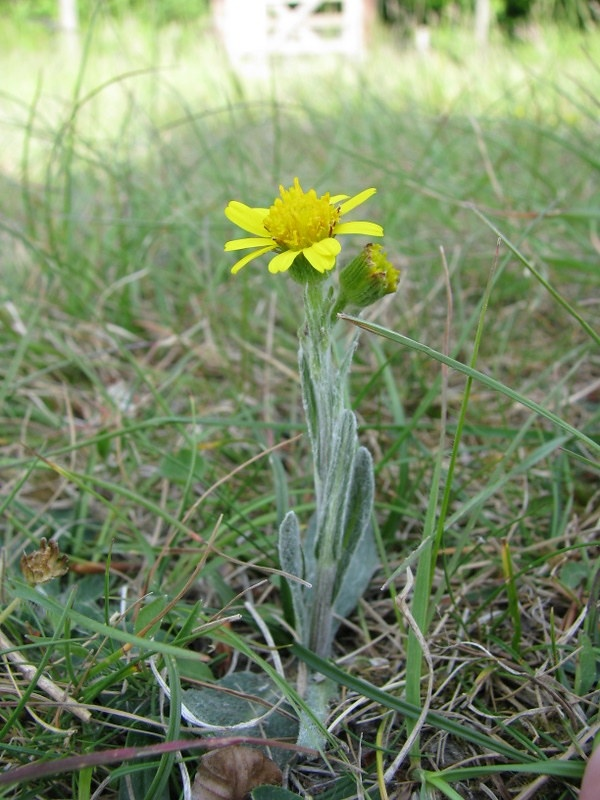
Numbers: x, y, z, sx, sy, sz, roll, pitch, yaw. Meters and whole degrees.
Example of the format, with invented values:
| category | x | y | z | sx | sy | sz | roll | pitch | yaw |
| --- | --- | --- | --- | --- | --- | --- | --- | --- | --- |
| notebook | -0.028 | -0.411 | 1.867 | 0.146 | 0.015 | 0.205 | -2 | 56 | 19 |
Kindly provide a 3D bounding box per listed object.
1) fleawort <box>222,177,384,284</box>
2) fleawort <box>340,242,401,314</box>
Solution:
| category | x | y | z | sx | sy | sz | roll | pitch | yaw |
| --- | --- | --- | --- | --- | --- | --- | --- | --- | --- |
| fleawort | 0.004 | -0.271 | 1.109 | 0.258 | 0.083 | 0.242 | -21 | 18 | -31 |
| fleawort | 0.106 | -0.197 | 1.095 | 0.092 | 0.107 | 0.091 | 1 | 37 | 3 |
